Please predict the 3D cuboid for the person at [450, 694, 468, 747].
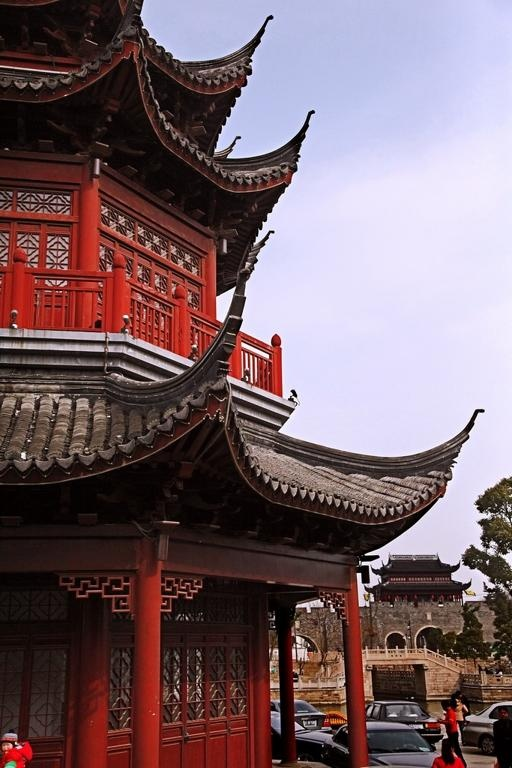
[{"bbox_3d":[4.525,7.519,18.103,0.370,1.084,0.313,-5,13,1],"label":"person"}]
